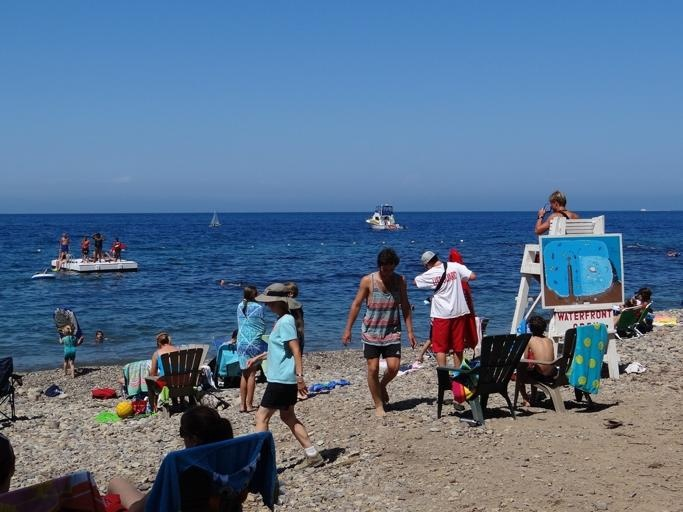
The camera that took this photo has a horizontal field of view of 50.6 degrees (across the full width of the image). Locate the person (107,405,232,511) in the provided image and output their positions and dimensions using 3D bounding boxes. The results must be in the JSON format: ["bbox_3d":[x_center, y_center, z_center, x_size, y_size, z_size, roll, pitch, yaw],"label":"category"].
[{"bbox_3d":[-1.604,1.818,6.296,1.329,0.688,0.486,-5,4,16],"label":"person"}]

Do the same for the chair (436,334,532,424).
[{"bbox_3d":[1.951,1.537,9.348,1.093,1.127,1.231,1,-5,-34],"label":"chair"}]

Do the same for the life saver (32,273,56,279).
[{"bbox_3d":[-17.895,1.210,43.756,0.795,0.245,0.869,-1,-3,-7],"label":"life saver"}]

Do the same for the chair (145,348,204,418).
[{"bbox_3d":[-2.686,2.053,12.327,0.897,1.098,1.178,0,-7,-31],"label":"chair"}]

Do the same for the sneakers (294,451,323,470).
[{"bbox_3d":[-0.428,2.408,8.516,0.411,0.180,0.142,-4,-1,4],"label":"sneakers"}]

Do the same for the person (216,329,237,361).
[{"bbox_3d":[-2.208,1.679,13.875,0.392,0.369,0.766,-6,3,-10],"label":"person"}]

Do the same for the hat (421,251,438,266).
[{"bbox_3d":[1.220,0.041,10.156,0.173,0.090,0.234,-41,10,-27],"label":"hat"}]
